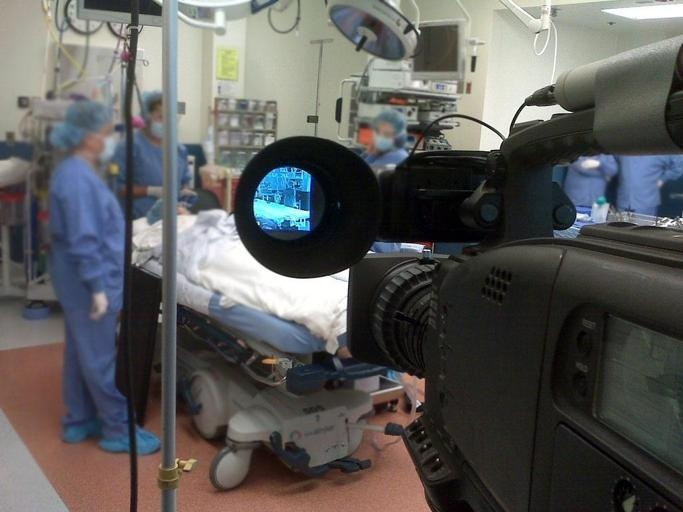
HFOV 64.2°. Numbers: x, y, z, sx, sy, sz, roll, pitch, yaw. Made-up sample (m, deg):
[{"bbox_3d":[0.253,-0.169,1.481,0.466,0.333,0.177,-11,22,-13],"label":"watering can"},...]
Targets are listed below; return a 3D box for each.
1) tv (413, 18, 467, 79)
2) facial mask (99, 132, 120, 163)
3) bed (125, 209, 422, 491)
[{"bbox_3d":[0.183,-0.387,1.020,0.092,0.116,0.100,2,12,3],"label":"tv"},{"bbox_3d":[-0.363,-0.170,0.851,0.028,0.041,0.013,9,11,5],"label":"facial mask"},{"bbox_3d":[-0.405,0.356,2.435,0.763,0.825,1.439,7,4,-40],"label":"bed"}]
